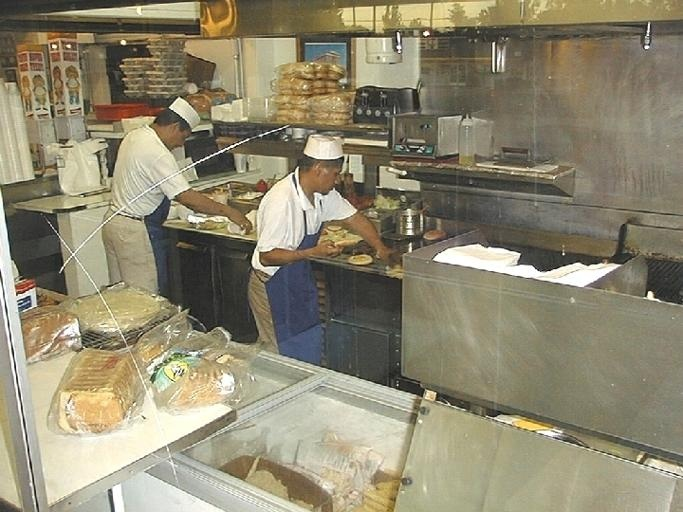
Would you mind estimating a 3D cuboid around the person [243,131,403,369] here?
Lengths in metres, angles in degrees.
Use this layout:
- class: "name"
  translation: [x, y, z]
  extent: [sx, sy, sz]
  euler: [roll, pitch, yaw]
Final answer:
- class: "person"
  translation: [-0.093, 0.068, 1.358]
  extent: [0.320, 0.700, 0.290]
  euler: [-12, 30, -36]

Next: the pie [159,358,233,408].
- class: "pie"
  translation: [-0.346, 0.318, 1.312]
  extent: [0.174, 0.087, 0.076]
  euler: [-17, 22, -39]

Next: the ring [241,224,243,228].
- class: "ring"
  translation: [-0.236, -0.072, 1.292]
  extent: [0.005, 0.006, 0.002]
  euler: [1, 17, 7]

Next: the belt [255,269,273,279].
- class: "belt"
  translation: [-0.187, 0.044, 1.298]
  extent: [0.029, 0.012, 0.023]
  euler: [19, 15, 31]

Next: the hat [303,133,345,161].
- class: "hat"
  translation: [-0.040, -0.238, 1.213]
  extent: [0.069, 0.032, 0.065]
  euler: [-13, 31, -30]

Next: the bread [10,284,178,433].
- class: "bread"
  translation: [-0.617, 0.230, 1.318]
  extent: [0.337, 0.279, 0.303]
  euler: [3, 18, 17]

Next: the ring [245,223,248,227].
- class: "ring"
  translation: [-0.224, -0.074, 1.288]
  extent: [0.008, 0.006, 0.007]
  euler: [0, 30, -4]

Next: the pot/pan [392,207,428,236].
- class: "pot/pan"
  translation: [0.151, -0.075, 1.197]
  extent: [0.068, 0.042, 0.062]
  euler: [0, 6, -4]

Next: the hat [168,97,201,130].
- class: "hat"
  translation: [-0.350, -0.327, 1.287]
  extent: [0.057, 0.073, 0.063]
  euler: [-41, 36, -7]
